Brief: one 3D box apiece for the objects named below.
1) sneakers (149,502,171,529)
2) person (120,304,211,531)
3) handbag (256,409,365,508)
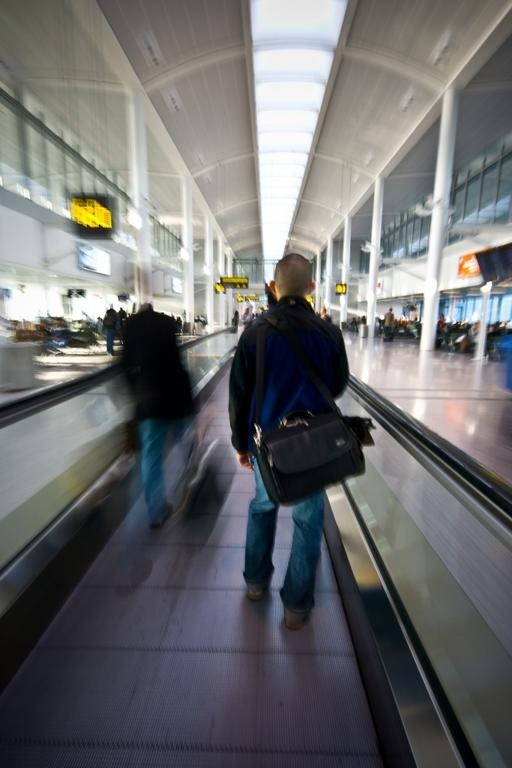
[{"bbox_3d":[-0.598,0.831,2.275,0.035,0.096,0.166,3,54,39],"label":"sneakers"},{"bbox_3d":[-0.620,0.163,2.402,0.416,1.391,0.565,-2,8,-12],"label":"person"},{"bbox_3d":[0.179,0.242,1.167,0.290,0.320,0.159,-15,-25,-8],"label":"handbag"}]
